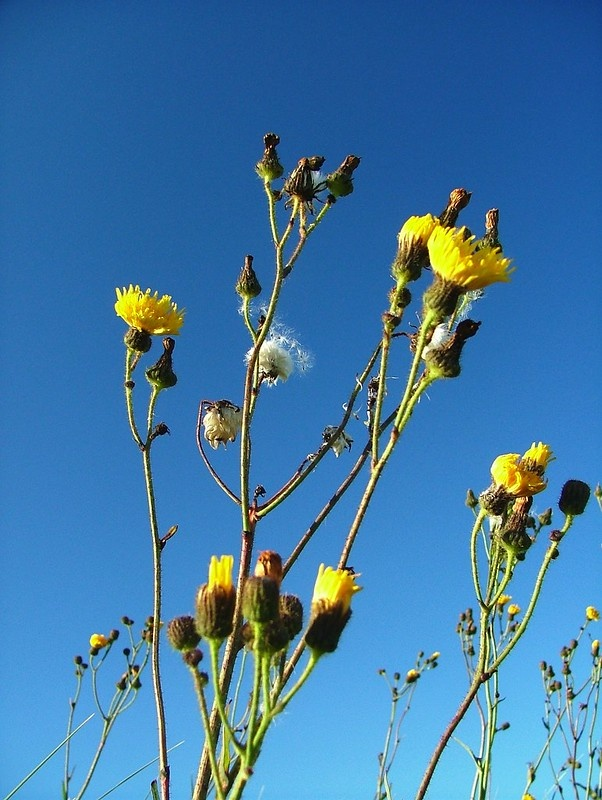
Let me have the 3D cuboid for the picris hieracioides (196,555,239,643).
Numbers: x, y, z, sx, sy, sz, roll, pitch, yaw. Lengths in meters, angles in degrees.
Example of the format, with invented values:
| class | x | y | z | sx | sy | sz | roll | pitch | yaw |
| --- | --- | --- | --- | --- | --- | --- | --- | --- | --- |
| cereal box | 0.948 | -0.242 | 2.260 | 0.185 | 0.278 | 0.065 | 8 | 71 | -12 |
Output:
| class | x | y | z | sx | sy | sz | roll | pitch | yaw |
| --- | --- | --- | --- | --- | --- | --- | --- | --- | --- |
| picris hieracioides | -0.324 | 0.788 | 5.550 | 0.149 | 0.287 | 0.311 | 1 | -45 | -4 |

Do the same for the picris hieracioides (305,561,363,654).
| class | x | y | z | sx | sy | sz | roll | pitch | yaw |
| --- | --- | --- | --- | --- | --- | --- | --- | --- | --- |
| picris hieracioides | 0.110 | 0.756 | 5.573 | 0.201 | 0.429 | 0.170 | 8 | -43 | -12 |

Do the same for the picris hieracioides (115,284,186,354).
| class | x | y | z | sx | sy | sz | roll | pitch | yaw |
| --- | --- | --- | --- | --- | --- | --- | --- | --- | --- |
| picris hieracioides | -0.710 | -0.361 | 6.816 | 0.248 | 0.340 | 0.299 | -22 | -47 | 18 |
